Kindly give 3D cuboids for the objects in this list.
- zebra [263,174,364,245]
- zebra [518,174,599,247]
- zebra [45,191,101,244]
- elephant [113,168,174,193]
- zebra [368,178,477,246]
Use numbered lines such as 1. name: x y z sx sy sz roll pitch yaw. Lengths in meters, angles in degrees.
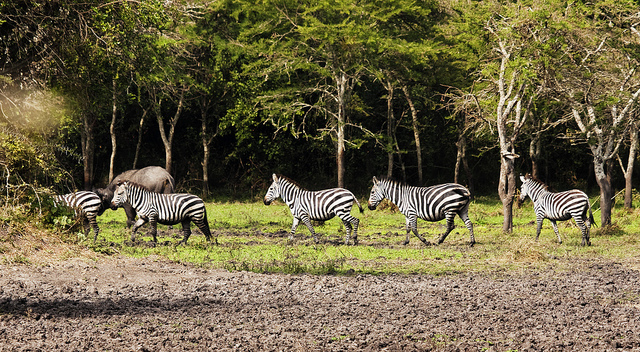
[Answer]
1. zebra: -0.143 1.452 35.901 4.525 2.993 1.351 1 -1 10
2. zebra: 9.912 1.442 35.379 3.544 2.959 1.166 4 7 45
3. zebra: -10.305 1.544 35.057 3.561 2.362 0.996 0 11 25
4. elephant: -8.873 0.336 39.269 1.794 1.384 4.140 1 1 8
5. zebra: 4.422 1.498 35.722 4.176 2.457 1.051 4 14 13
